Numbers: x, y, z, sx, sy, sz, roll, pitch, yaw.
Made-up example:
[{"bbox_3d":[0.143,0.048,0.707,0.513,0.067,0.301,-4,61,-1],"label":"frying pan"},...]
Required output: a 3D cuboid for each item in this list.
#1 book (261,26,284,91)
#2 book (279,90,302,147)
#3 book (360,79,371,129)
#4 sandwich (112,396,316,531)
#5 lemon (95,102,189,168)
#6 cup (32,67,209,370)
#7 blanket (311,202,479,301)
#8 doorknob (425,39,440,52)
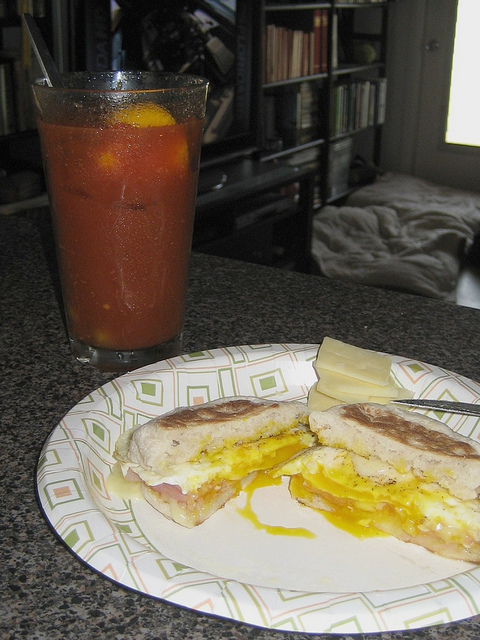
[{"bbox_3d":[0.140,-1.121,2.328,0.079,0.249,0.220,-2,27,-8],"label":"book"},{"bbox_3d":[0.206,-0.824,2.224,0.059,0.231,0.221,2,10,11],"label":"book"},{"bbox_3d":[0.413,-0.730,1.842,0.019,0.144,0.114,3,22,22],"label":"book"},{"bbox_3d":[-0.020,0.120,0.560,0.143,0.070,0.198,17,26,41],"label":"sandwich"},{"bbox_3d":[-0.095,-0.187,0.551,0.100,0.065,0.030,-20,35,-37],"label":"lemon"},{"bbox_3d":[-0.119,-0.090,0.631,0.184,0.337,0.101,-7,29,-17],"label":"cup"},{"bbox_3d":[0.487,-0.254,1.805,0.457,0.325,0.130,19,8,21],"label":"blanket"},{"bbox_3d":[0.582,-0.836,1.653,0.044,0.034,0.018,13,29,20],"label":"doorknob"}]
